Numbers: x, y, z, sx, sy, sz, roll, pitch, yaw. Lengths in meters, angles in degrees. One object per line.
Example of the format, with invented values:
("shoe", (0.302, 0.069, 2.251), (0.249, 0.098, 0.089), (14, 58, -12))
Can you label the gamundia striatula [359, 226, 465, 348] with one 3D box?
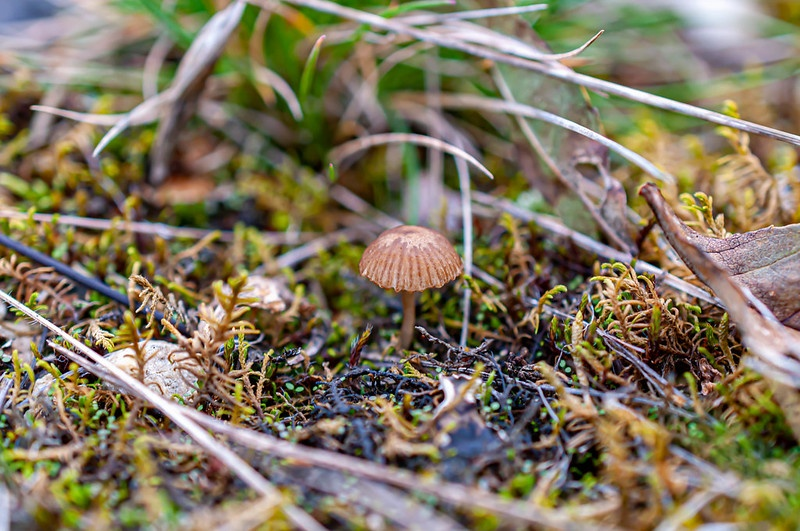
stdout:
("gamundia striatula", (0.010, 0.015, 2.461), (0.356, 0.421, 0.340), (-17, 40, -21))

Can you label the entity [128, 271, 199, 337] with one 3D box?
("entity", (-0.873, 0.141, 2.305), (0.293, 0.058, 0.157), (41, 28, -9))
